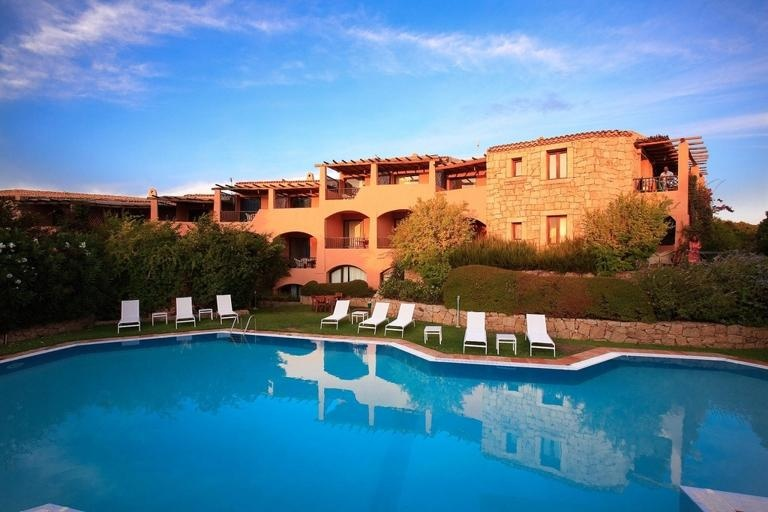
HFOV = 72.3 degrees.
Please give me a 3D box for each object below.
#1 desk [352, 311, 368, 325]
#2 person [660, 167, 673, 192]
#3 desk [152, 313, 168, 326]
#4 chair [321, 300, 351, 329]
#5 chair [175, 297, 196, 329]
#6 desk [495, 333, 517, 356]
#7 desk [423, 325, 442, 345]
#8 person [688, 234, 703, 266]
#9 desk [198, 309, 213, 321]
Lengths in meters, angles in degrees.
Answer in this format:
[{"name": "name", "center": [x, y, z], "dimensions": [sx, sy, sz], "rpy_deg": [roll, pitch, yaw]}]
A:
[{"name": "desk", "center": [-1.369, 3.289, 28.280], "dimensions": [0.591, 0.496, 0.975], "rpy_deg": [-1, 0, 3]}, {"name": "person", "center": [16.125, -4.361, 30.030], "dimensions": [0.710, 1.345, 1.521], "rpy_deg": [0, 2, 28]}, {"name": "desk", "center": [-12.137, 3.430, 28.457], "dimensions": [0.745, 0.632, 0.842], "rpy_deg": [0, 2, -21]}, {"name": "chair", "center": [-2.636, 3.062, 27.884], "dimensions": [1.249, 1.220, 2.312], "rpy_deg": [-1, 2, 4]}, {"name": "chair", "center": [-10.544, 2.933, 27.965], "dimensions": [1.007, 1.416, 1.520], "rpy_deg": [-2, 2, -21]}, {"name": "desk", "center": [5.436, 3.871, 23.287], "dimensions": [0.891, 0.796, 1.432], "rpy_deg": [-1, 2, 15]}, {"name": "desk", "center": [2.338, 3.685, 24.880], "dimensions": [0.739, 0.613, 0.802], "rpy_deg": [2, 14, 15]}, {"name": "person", "center": [16.675, -0.433, 28.418], "dimensions": [0.568, 1.352, 1.840], "rpy_deg": [0, 2, 28]}, {"name": "desk", "center": [-10.016, 3.296, 29.736], "dimensions": [0.709, 0.524, 0.706], "rpy_deg": [1, 2, -11]}]
